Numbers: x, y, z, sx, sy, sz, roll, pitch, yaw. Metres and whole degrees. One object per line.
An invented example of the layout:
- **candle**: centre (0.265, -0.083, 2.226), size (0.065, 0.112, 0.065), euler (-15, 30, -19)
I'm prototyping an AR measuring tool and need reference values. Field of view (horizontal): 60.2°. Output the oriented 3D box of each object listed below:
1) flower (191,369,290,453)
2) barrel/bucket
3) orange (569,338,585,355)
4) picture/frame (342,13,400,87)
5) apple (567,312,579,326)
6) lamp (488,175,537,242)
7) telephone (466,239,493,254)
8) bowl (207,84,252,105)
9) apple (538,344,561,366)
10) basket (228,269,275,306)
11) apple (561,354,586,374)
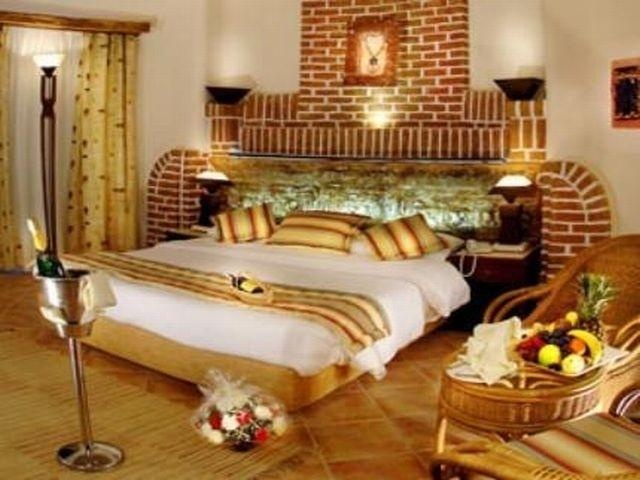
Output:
- **flower**: centre (-0.445, 0.950, 3.126), size (0.491, 0.302, 0.360), euler (5, 13, 18)
- **barrel/bucket**: centre (-1.143, 0.281, 2.630), size (0.314, 0.322, 0.291), euler (-1, 10, 0)
- **orange**: centre (1.260, 0.525, 2.729), size (0.052, 0.050, 0.049), euler (-26, 62, -22)
- **picture/frame**: centre (0.525, -1.902, 5.486), size (0.796, 0.802, 0.122), euler (5, 6, 28)
- **apple**: centre (1.381, 0.426, 3.014), size (0.073, 0.076, 0.068), euler (2, 1, -5)
- **lamp**: centre (1.720, -0.290, 5.017), size (0.378, 0.620, 0.380), euler (7, 14, 25)
- **telephone**: centre (1.401, 0.048, 4.867), size (0.160, 0.052, 0.140), euler (-6, 8, -38)
- **bowl**: centre (-1.049, -1.621, 6.148), size (0.566, 0.218, 0.211), euler (6, 13, 22)
- **apple**: centre (1.122, 0.563, 2.715), size (0.105, 0.088, 0.098), euler (-17, 13, -8)
- **basket**: centre (-0.462, 0.314, 3.683), size (0.164, 0.089, 0.295), euler (-14, 25, -27)
- **apple**: centre (1.206, 0.597, 2.685), size (0.108, 0.077, 0.081), euler (-12, -7, -34)
